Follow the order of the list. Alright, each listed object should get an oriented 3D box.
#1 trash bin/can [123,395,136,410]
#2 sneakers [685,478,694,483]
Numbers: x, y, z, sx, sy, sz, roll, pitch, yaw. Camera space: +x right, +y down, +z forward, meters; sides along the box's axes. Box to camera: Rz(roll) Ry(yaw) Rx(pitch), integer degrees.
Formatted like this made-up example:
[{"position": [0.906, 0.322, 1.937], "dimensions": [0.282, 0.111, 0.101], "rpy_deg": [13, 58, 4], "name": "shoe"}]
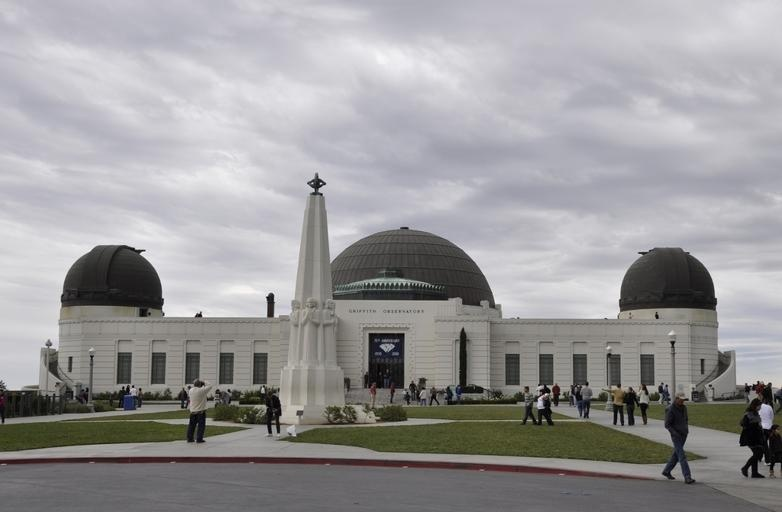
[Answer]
[{"position": [-18.683, 10.390, 63.248], "dimensions": [0.677, 1.019, 1.264], "rpy_deg": [7, -12, -25], "name": "trash bin/can"}, {"position": [9.404, 7.068, 28.079], "dimensions": [0.342, 0.193, 0.124], "rpy_deg": [-4, -6, 14], "name": "sneakers"}]
